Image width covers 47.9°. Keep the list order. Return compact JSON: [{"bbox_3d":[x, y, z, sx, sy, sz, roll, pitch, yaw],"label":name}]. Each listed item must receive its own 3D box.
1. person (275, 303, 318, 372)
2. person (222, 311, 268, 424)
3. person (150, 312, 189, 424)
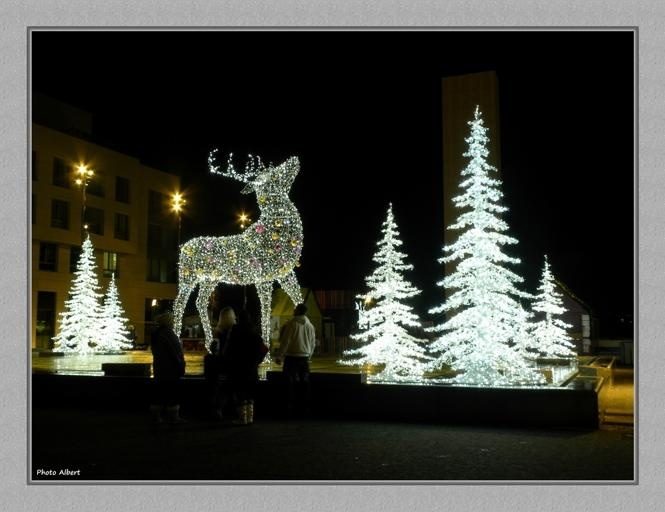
[{"bbox_3d":[-0.673,1.573,14.064,0.676,1.298,0.443,-1,-6,-5],"label":"person"},{"bbox_3d":[-1.518,1.994,13.131,0.687,1.944,0.392,-1,-6,-8],"label":"person"},{"bbox_3d":[-2.915,2.006,13.302,0.557,2.002,0.831,0,-6,-13],"label":"person"}]
